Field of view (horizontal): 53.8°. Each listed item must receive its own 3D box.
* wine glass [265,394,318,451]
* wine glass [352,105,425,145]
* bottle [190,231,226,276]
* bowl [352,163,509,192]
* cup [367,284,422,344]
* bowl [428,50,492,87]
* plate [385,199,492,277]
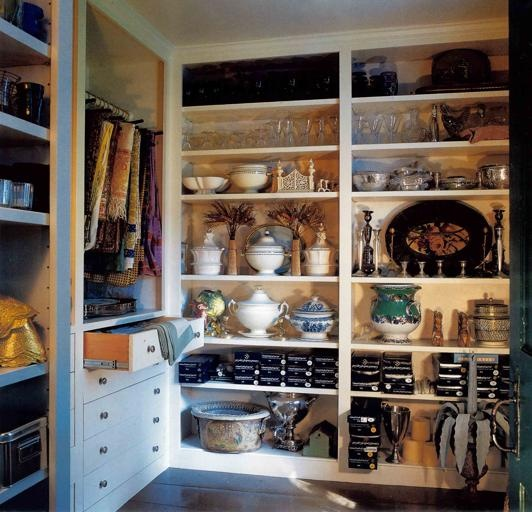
[{"bbox_3d":[0.160,1.009,3.229,0.298,0.327,0.240,4,2,-1],"label":"wine glass"},{"bbox_3d":[0.743,-0.759,3.230,0.546,0.231,0.225,-1,-2,5],"label":"wine glass"},{"bbox_3d":[-0.376,-0.023,3.349,0.210,0.272,0.202,3,6,0],"label":"bottle"},{"bbox_3d":[0.943,-0.472,3.105,0.858,0.226,0.320,-1,-3,11],"label":"bowl"},{"bbox_3d":[0.758,0.328,3.067,0.279,0.339,0.155,-1,-4,10],"label":"cup"},{"bbox_3d":[1.120,-1.082,3.008,0.309,0.211,0.045,-1,-4,11],"label":"bowl"},{"bbox_3d":[1.063,-0.102,3.150,0.676,0.431,0.175,4,5,15],"label":"plate"}]
